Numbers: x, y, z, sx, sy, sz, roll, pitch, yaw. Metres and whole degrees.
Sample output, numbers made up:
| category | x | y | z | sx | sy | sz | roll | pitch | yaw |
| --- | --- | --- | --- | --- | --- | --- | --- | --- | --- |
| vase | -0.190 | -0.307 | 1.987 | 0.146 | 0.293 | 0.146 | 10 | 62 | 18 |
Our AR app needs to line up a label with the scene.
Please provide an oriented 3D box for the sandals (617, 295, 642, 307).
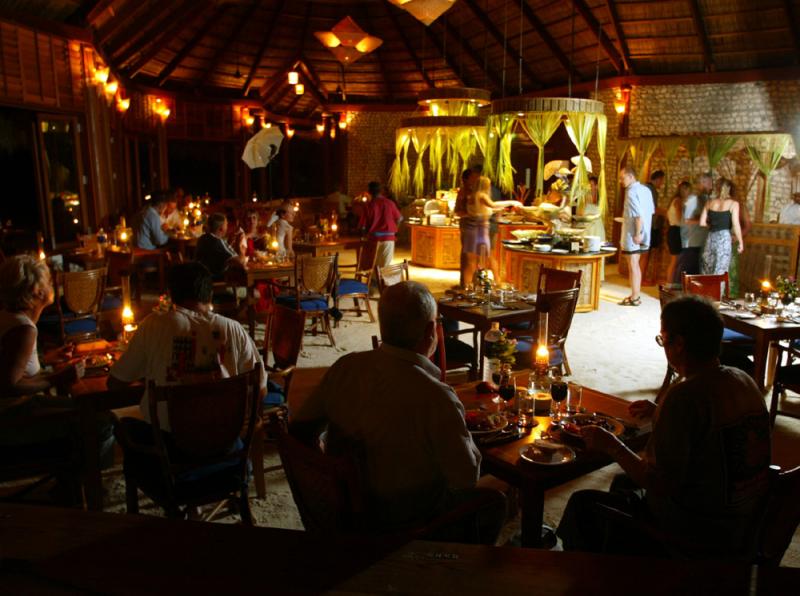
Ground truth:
| category | x | y | z | sx | sy | sz | roll | pitch | yaw |
| --- | --- | --- | --- | --- | --- | --- | --- | --- | --- |
| sandals | 3.136 | 0.038 | 8.357 | 0.246 | 0.103 | 0.135 | 2 | 3 | 0 |
